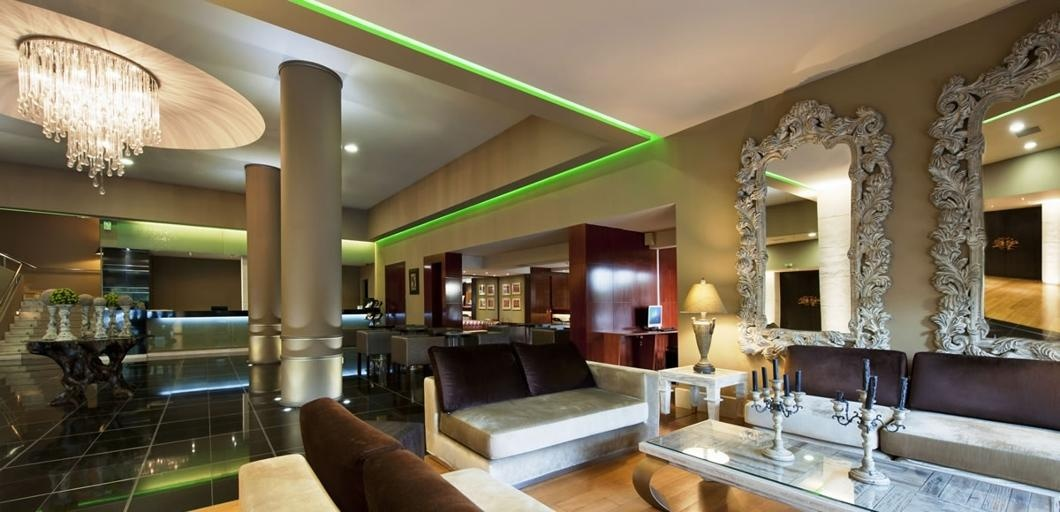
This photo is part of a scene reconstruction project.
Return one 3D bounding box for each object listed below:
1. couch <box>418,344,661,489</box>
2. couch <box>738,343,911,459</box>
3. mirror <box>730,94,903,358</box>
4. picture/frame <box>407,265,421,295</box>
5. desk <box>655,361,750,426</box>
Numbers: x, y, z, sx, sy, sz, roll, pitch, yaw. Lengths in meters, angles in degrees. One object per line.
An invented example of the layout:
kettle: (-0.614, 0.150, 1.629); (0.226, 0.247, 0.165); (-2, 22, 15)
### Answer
couch: (0.220, 2.536, 10.330); (3.755, 1.501, 2.494); (-3, 9, -28)
couch: (5.278, 2.290, 10.156); (2.584, 1.463, 1.850); (-4, -13, 44)
mirror: (5.236, -0.516, 10.430); (0.358, 4.775, 3.578); (2, -5, -35)
picture/frame: (-3.525, 0.735, 17.936); (0.110, 0.834, 0.961); (3, -8, -29)
desk: (3.273, 2.472, 10.966); (1.248, 1.120, 1.568); (2, -5, -30)
